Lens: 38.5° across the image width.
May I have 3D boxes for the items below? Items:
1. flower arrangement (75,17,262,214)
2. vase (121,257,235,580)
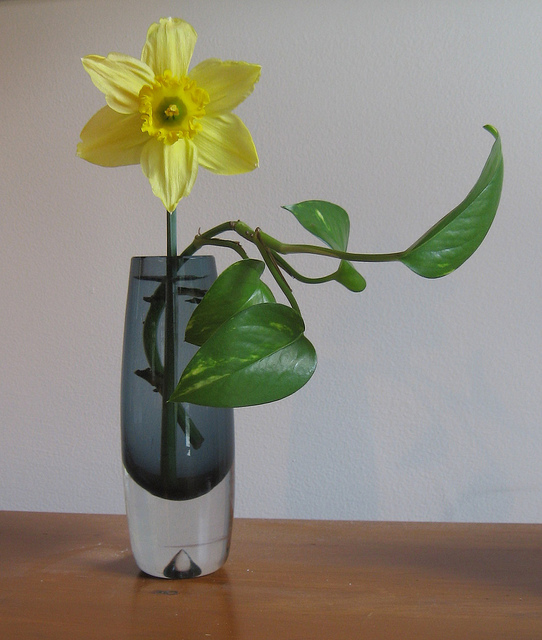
[{"bbox_3d":[-0.083,-0.161,0.621,0.144,0.148,0.044,-2,7,-12],"label":"flower arrangement"},{"bbox_3d":[-0.108,0.093,0.731,0.162,0.305,0.090,7,10,44],"label":"vase"}]
